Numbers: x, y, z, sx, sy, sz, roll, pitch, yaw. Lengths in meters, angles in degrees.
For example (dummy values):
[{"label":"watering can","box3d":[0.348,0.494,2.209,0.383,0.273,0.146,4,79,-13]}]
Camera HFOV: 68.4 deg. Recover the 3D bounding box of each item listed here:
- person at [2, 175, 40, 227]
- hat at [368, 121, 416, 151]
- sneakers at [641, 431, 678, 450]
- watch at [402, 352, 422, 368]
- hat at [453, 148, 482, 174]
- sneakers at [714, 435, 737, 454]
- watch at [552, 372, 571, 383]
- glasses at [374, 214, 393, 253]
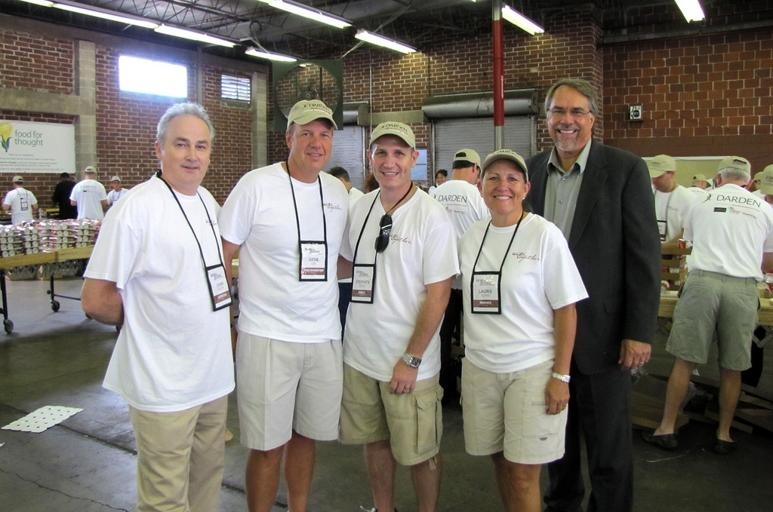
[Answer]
[{"label":"person","box3d":[-6.944,-1.056,10.788,0.540,0.820,1.148,-7,14,-31]},{"label":"hat","box3d":[0.045,-0.725,3.392,0.246,0.171,0.389,-1,-9,2]},{"label":"sneakers","box3d":[2.146,1.440,4.537,0.111,0.112,0.290,1,0,-27]},{"label":"watch","box3d":[0.153,0.594,3.252,0.108,0.069,0.101,14,-10,36]},{"label":"hat","box3d":[0.768,-0.891,5.375,0.246,0.174,0.351,4,7,38]},{"label":"sneakers","box3d":[2.635,1.475,4.438,0.234,0.079,0.084,3,-9,-37]},{"label":"watch","box3d":[0.940,0.657,3.076,0.082,0.051,0.075,18,-17,-38]},{"label":"glasses","box3d":[-0.002,-0.125,3.272,0.113,0.195,0.049,6,-7,42]}]
